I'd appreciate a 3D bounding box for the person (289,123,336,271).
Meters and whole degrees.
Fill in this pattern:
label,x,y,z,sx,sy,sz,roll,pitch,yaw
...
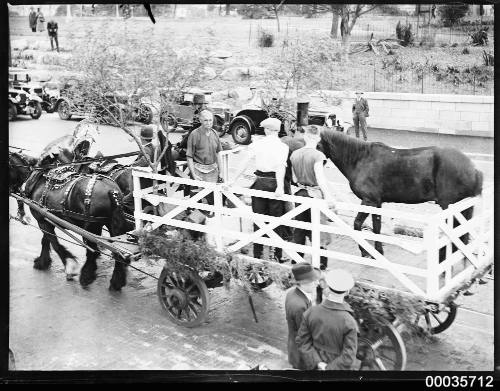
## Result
label,x,y,z,sx,sy,sz,roll,pitch,yaw
person,0.851,0.010,6.606,0.603,1.950,1.098,2,10,2

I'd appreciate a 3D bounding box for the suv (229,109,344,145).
label,x,y,z,sx,sy,sz,roll,pitch,yaw
suv,0.786,-1.669,12.623,2.898,0.889,1.232,6,18,21

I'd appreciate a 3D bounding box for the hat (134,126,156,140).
label,x,y,z,sx,sy,sz,roll,pitch,yaw
hat,-1.736,-1.069,8.060,0.278,0.103,0.251,19,17,32

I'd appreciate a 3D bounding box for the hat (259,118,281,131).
label,x,y,z,sx,sy,sz,roll,pitch,yaw
hat,0.281,-1.012,6.799,0.245,0.117,0.178,13,24,23

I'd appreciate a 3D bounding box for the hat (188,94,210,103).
label,x,y,z,sx,sy,sz,roll,pitch,yaw
hat,-1.239,-2.357,11.527,0.374,0.103,0.394,-1,1,30

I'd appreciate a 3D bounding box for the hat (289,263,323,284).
label,x,y,z,sx,sy,sz,roll,pitch,yaw
hat,0.594,0.855,5.281,0.245,0.090,0.213,-7,24,12

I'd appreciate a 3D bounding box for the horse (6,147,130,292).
label,x,y,z,sx,sy,sz,roll,pitch,yaw
horse,-3.351,0.391,8.785,3.251,2.271,0.923,6,8,29

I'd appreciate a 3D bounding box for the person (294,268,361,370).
label,x,y,z,sx,sy,sz,roll,pitch,yaw
person,0.788,1.360,4.878,0.603,1.119,0.476,5,11,17

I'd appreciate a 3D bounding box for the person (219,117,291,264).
label,x,y,z,sx,sy,sz,roll,pitch,yaw
person,0.240,-0.095,6.789,0.851,1.984,0.878,-3,11,-21
